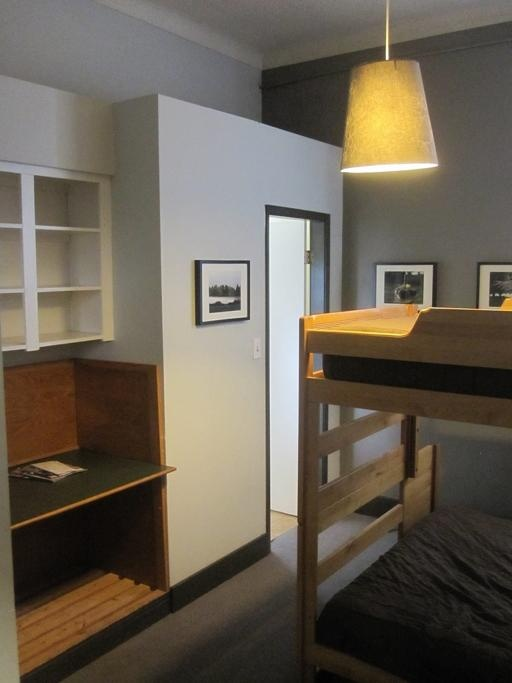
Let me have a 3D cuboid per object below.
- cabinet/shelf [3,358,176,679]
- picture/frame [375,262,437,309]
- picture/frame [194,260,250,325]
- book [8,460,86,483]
[{"bbox_3d":[-0.806,0.707,2.454,0.657,1.198,0.687,4,6,35],"label":"cabinet/shelf"},{"bbox_3d":[0.947,-0.360,3.477,0.363,0.298,0.016,8,12,43],"label":"picture/frame"},{"bbox_3d":[-0.181,-0.250,2.754,0.020,0.266,0.292,4,8,33],"label":"picture/frame"},{"bbox_3d":[-0.930,0.567,2.467,0.315,0.029,0.256,4,6,29],"label":"book"}]
